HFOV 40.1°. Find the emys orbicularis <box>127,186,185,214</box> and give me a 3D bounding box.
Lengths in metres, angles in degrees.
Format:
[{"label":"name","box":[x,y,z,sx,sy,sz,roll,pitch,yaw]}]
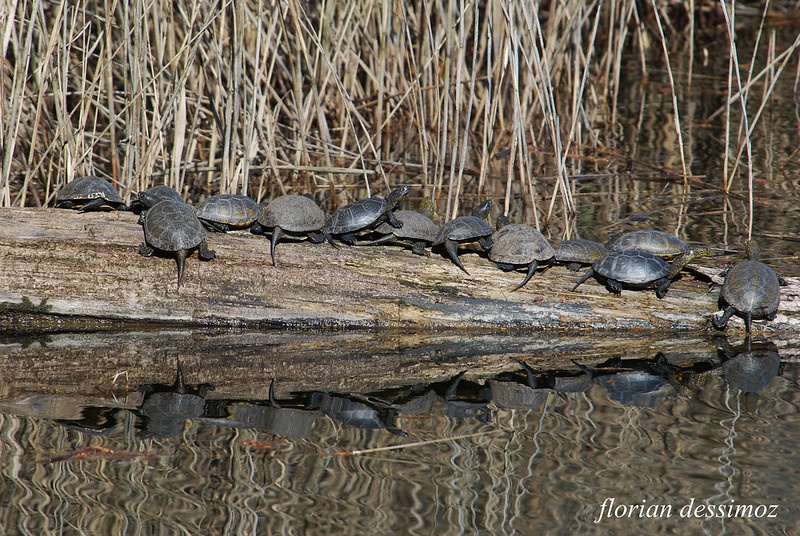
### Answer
[{"label":"emys orbicularis","box":[-2.632,-0.729,11.975,0.370,0.139,0.459,23,24,27]}]
